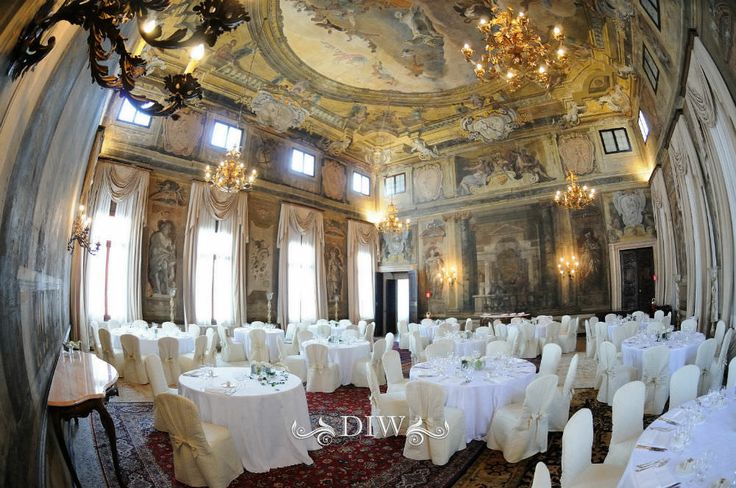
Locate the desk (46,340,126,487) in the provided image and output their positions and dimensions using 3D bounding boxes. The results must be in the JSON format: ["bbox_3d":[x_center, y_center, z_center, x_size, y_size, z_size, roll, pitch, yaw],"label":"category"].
[{"bbox_3d":[-3.858,2.371,5.918,0.635,0.927,1.946,-18,6,-28],"label":"desk"}]

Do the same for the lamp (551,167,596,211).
[{"bbox_3d":[7.432,-1.935,15.606,1.194,1.441,1.165,16,-29,-25],"label":"lamp"}]
